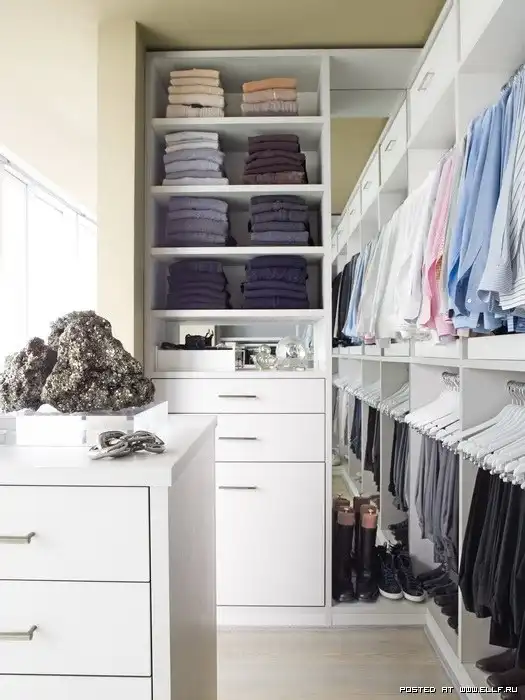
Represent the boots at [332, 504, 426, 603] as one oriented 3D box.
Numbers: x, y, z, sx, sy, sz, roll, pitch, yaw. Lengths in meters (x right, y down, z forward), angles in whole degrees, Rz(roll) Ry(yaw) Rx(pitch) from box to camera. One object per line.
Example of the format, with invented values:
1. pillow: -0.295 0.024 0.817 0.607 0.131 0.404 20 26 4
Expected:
1. boots: 0.419 0.814 2.668 0.303 0.359 0.380 1 -5 -15
